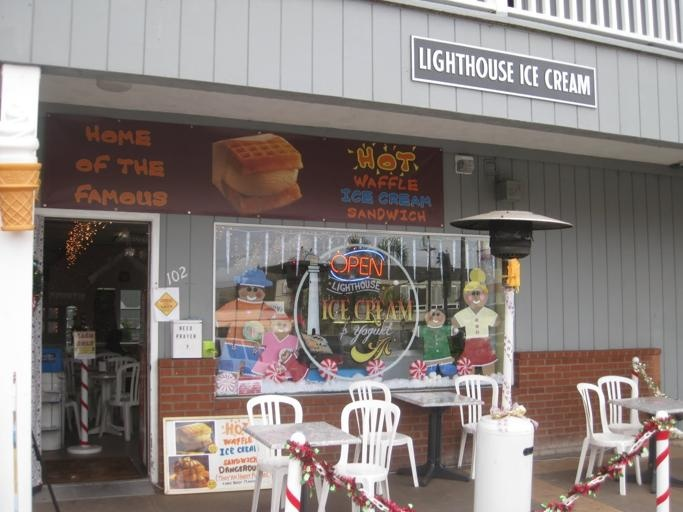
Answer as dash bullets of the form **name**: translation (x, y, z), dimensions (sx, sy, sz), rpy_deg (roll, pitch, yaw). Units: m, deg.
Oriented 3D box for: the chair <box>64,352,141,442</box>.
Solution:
- **chair**: translation (-3.275, 1.986, 9.978), dimensions (1.291, 0.952, 1.344), rpy_deg (1, -3, -3)
